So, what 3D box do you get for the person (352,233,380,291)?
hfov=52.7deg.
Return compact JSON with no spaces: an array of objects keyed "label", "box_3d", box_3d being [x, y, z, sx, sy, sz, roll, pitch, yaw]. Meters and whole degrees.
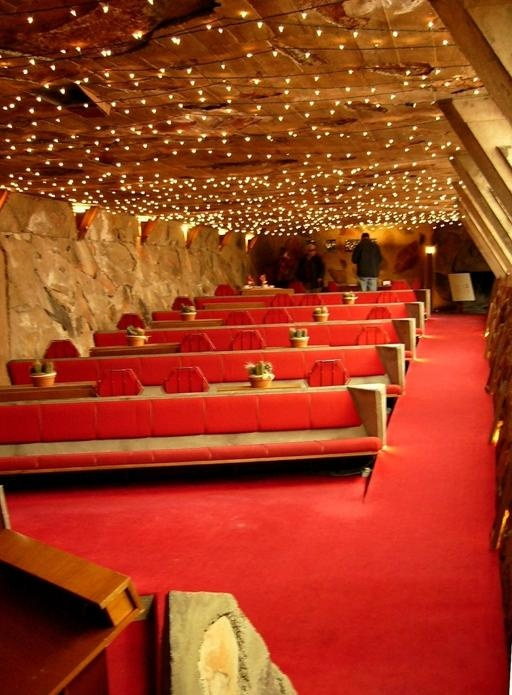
[{"label":"person","box_3d":[2.909,-2.216,13.684,0.720,1.672,0.849,3,28,10]}]
